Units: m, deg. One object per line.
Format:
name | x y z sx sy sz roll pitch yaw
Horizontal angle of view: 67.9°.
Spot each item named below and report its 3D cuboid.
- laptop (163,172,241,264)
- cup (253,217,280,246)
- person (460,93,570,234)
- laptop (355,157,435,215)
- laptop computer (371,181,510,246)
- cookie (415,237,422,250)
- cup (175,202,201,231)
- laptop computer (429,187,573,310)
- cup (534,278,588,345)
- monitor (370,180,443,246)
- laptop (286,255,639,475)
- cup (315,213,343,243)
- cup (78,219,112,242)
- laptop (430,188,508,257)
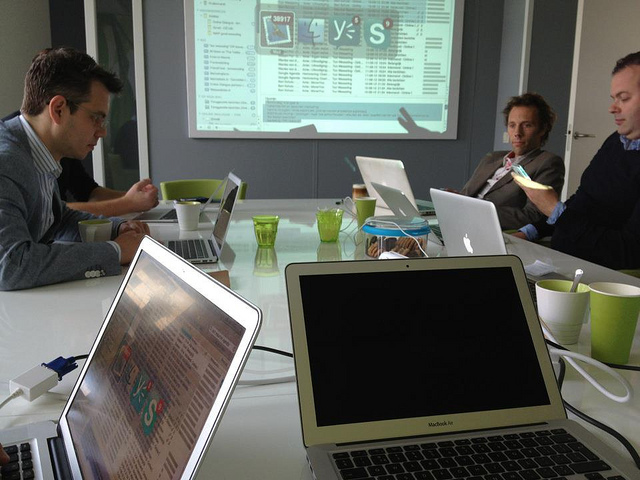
laptop | -0.450 -0.075 1.729 0.341 0.261 0.387 -8 14 -33
cup | -0.210 -0.031 1.853 0.089 0.106 0.096 1 4 0
person | 1.200 -0.469 3.129 0.597 0.989 0.687 0 15 -13
laptop | 0.389 -0.267 2.378 0.411 0.316 0.534 -6 1 15
laptop computer | 0.426 -0.169 1.910 0.321 0.243 0.367 -3 12 -16
cookie | 0.306 0.012 1.469 0.007 0.034 0.032 14 23 42
cup | -0.582 -0.098 2.096 0.102 0.126 0.110 -2 -8 0
laptop computer | 0.548 -0.055 1.458 0.306 0.284 0.407 -6 11 -13
cup | 0.572 0.173 1.110 0.093 0.118 0.106 1 2 5
monitor | 0.378 -0.064 1.905 0.217 0.209 0.320 -26 16 -8
laptop | 0.200 0.122 0.679 0.366 0.260 0.373 -2 5 -11
cup | 0.033 -0.044 1.892 0.103 0.122 0.104 1 1 0
cup | -0.824 -0.031 1.723 0.077 0.085 0.099 0 -7 -9
laptop | 0.499 -0.051 1.608 0.200 0.220 0.302 -15 11 -11
